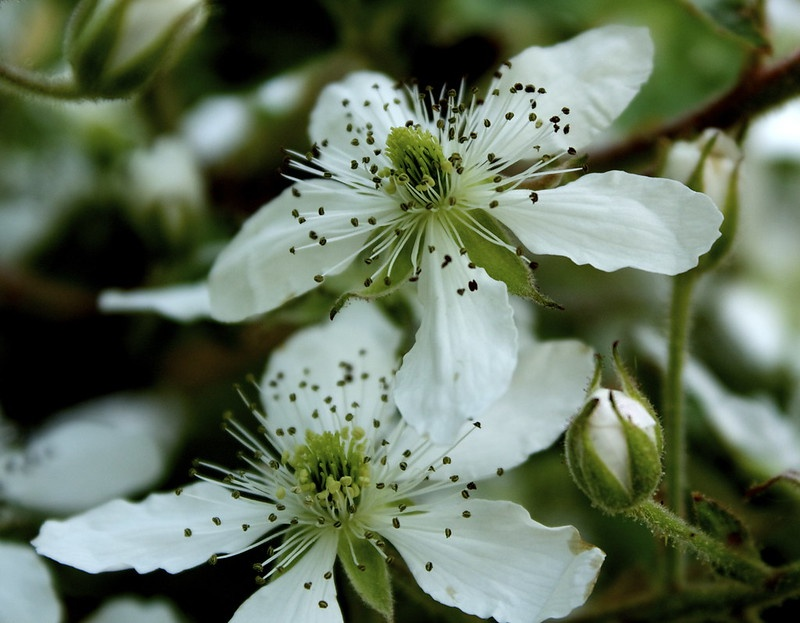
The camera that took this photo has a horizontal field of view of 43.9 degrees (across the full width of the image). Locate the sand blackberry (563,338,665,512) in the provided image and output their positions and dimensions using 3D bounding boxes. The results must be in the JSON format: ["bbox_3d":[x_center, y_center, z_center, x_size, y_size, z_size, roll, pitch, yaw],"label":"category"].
[{"bbox_3d":[0.374,0.210,1.735,0.147,0.151,0.316,18,55,-32],"label":"sand blackberry"}]
